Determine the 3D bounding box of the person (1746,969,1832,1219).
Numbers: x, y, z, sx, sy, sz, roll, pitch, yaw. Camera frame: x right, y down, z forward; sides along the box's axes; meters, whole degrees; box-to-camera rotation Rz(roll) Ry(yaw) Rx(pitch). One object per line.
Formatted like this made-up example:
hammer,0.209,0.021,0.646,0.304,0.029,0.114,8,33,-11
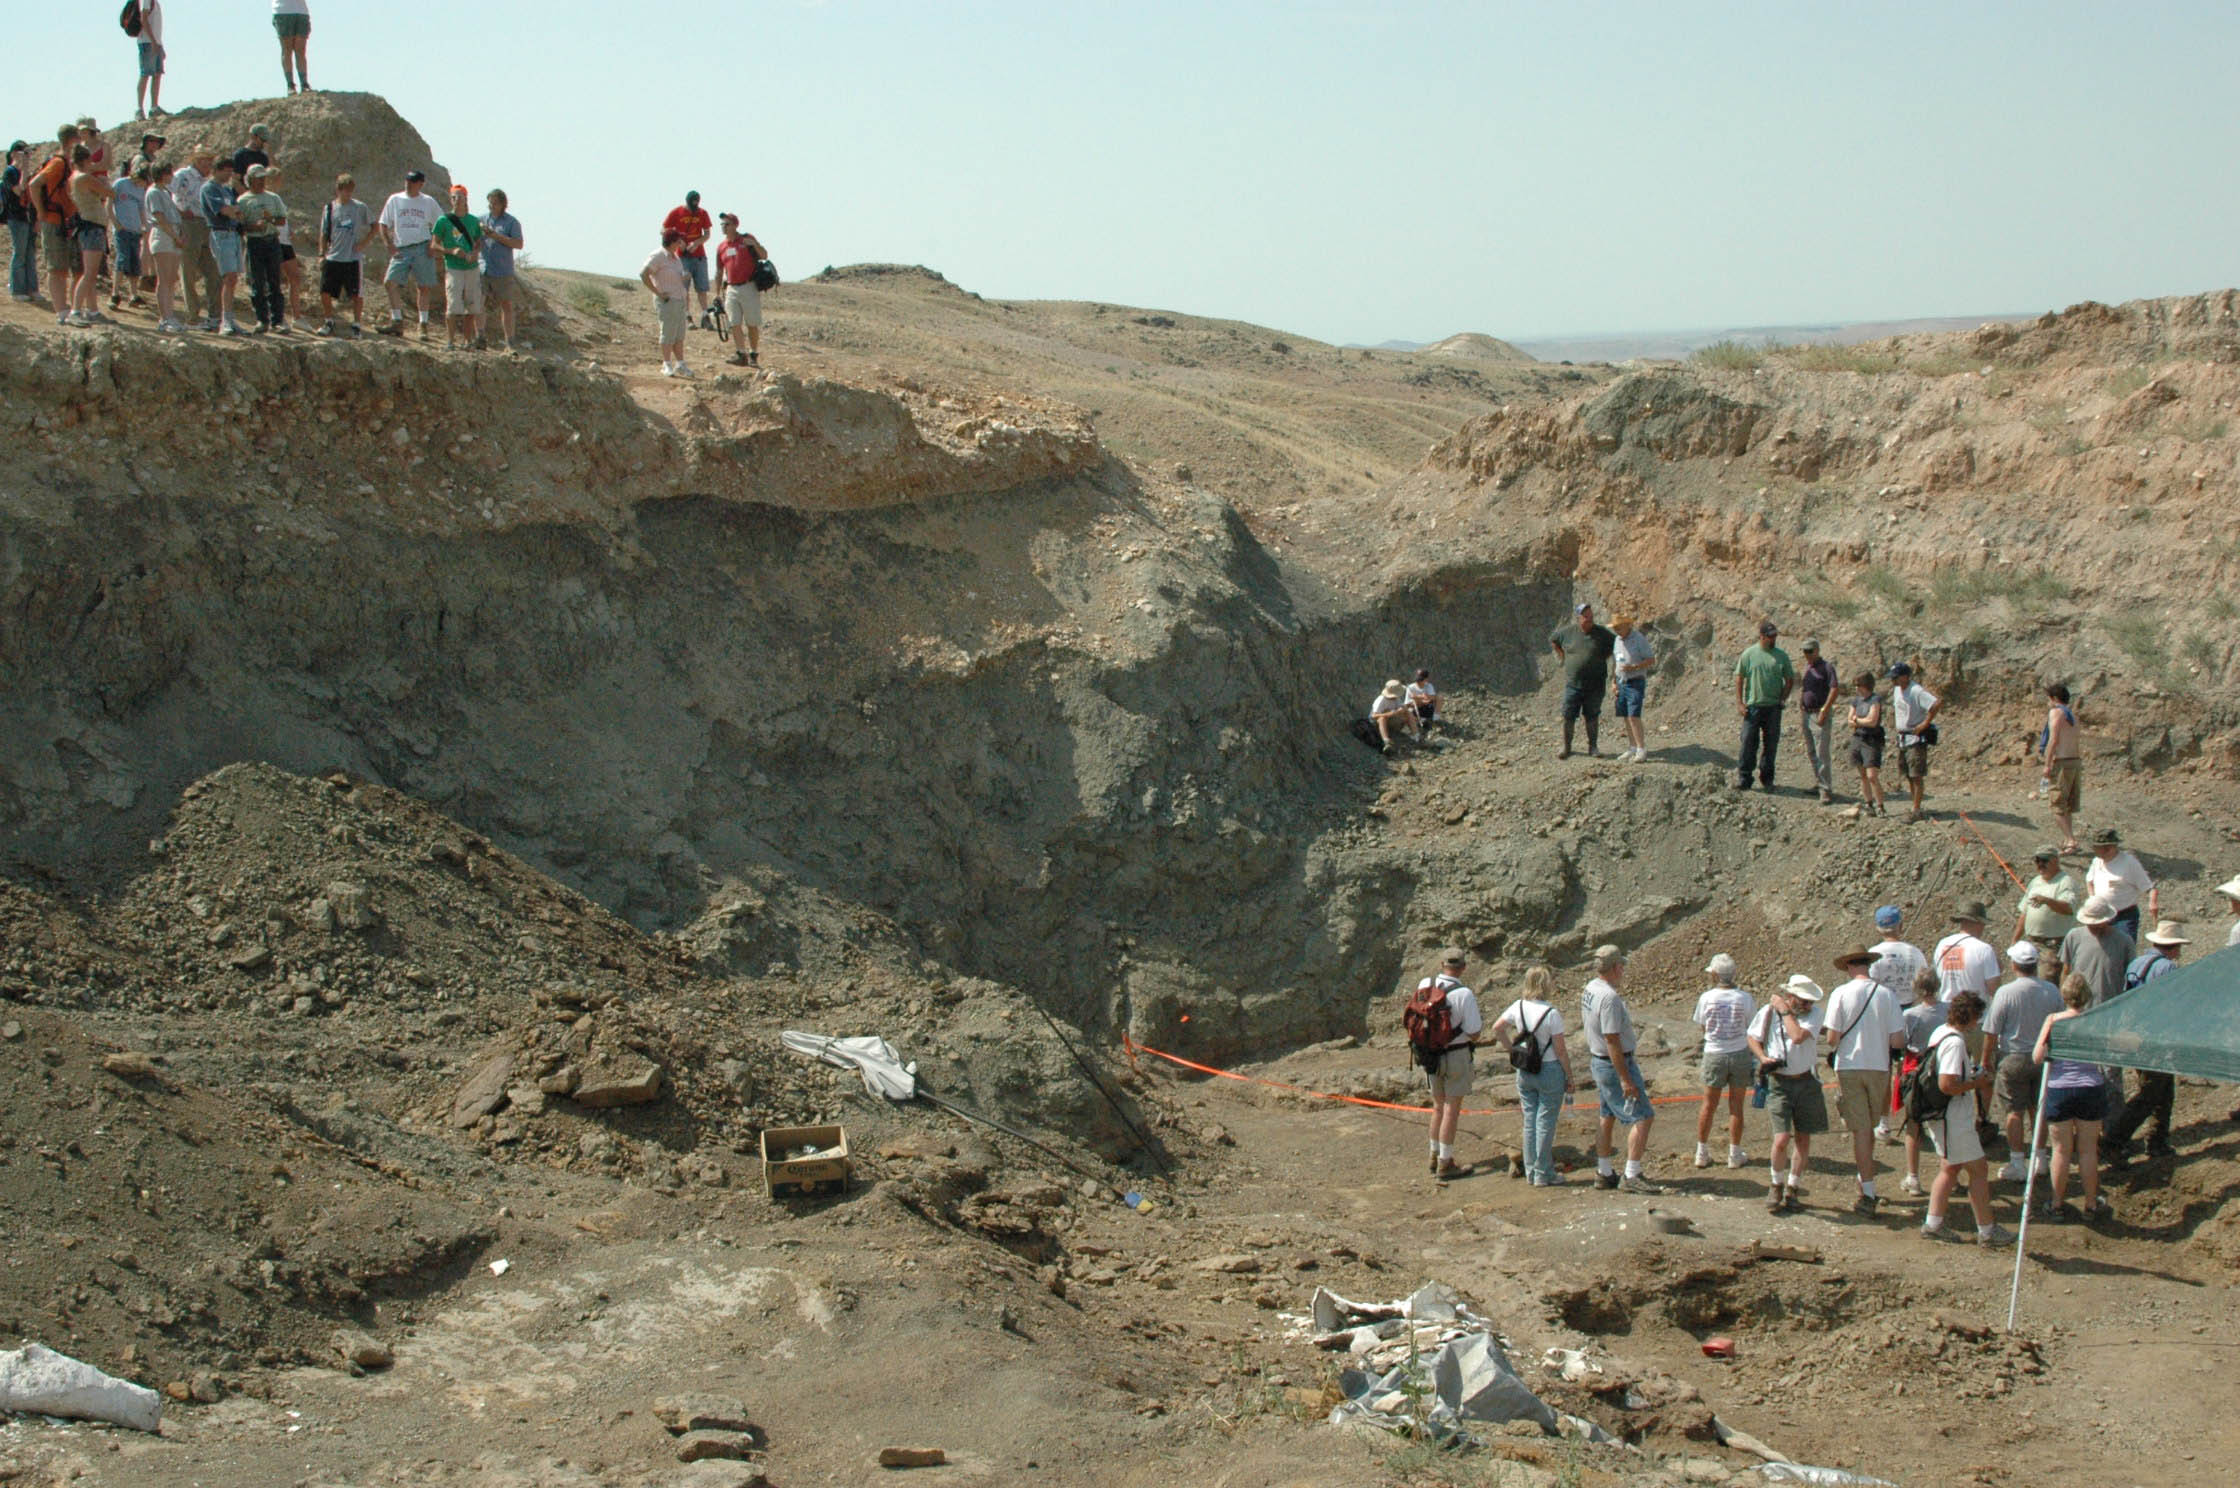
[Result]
person,6.548,3.286,34.578,1.127,2.668,0.541,1,5,-19

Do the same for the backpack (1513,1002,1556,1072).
backpack,4.115,2.809,35.168,0.408,0.598,0.620,3,35,14

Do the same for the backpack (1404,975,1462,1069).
backpack,3.121,2.759,35.522,0.416,0.934,0.527,0,-4,-38
